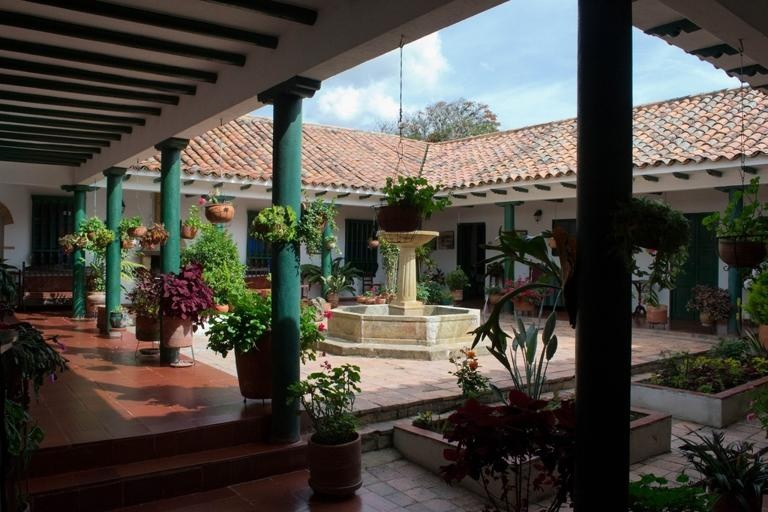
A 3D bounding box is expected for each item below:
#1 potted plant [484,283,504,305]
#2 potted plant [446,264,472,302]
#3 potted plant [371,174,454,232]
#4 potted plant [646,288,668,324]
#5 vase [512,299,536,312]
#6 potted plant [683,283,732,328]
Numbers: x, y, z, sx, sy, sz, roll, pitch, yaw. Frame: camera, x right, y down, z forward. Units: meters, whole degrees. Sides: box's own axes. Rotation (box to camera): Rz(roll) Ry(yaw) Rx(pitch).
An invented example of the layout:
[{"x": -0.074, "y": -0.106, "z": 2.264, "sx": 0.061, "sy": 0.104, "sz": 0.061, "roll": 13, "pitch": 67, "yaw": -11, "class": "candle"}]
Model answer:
[{"x": 2.803, "y": 0.937, "z": 13.106, "sx": 0.547, "sy": 0.542, "sz": 0.466, "roll": 1, "pitch": -3, "yaw": -4, "class": "potted plant"}, {"x": 2.083, "y": 0.804, "z": 15.250, "sx": 1.021, "sy": 1.229, "sz": 0.912, "roll": 1, "pitch": -4, "yaw": -6, "class": "potted plant"}, {"x": 0.320, "y": -0.606, "z": 6.004, "sx": 0.788, "sy": 0.515, "sz": 0.744, "roll": 1, "pitch": -10, "yaw": 3, "class": "potted plant"}, {"x": 5.855, "y": 1.245, "z": 11.425, "sx": 0.387, "sy": 0.402, "sz": 0.381, "roll": 3, "pitch": 10, "yaw": 38, "class": "potted plant"}, {"x": 3.222, "y": 1.149, "z": 12.265, "sx": 0.407, "sy": 0.229, "sz": 0.391, "roll": 1, "pitch": -2, "yaw": -5, "class": "vase"}, {"x": 6.904, "y": 1.035, "z": 11.183, "sx": 0.894, "sy": 0.798, "sz": 0.870, "roll": -4, "pitch": 6, "yaw": -28, "class": "potted plant"}]
